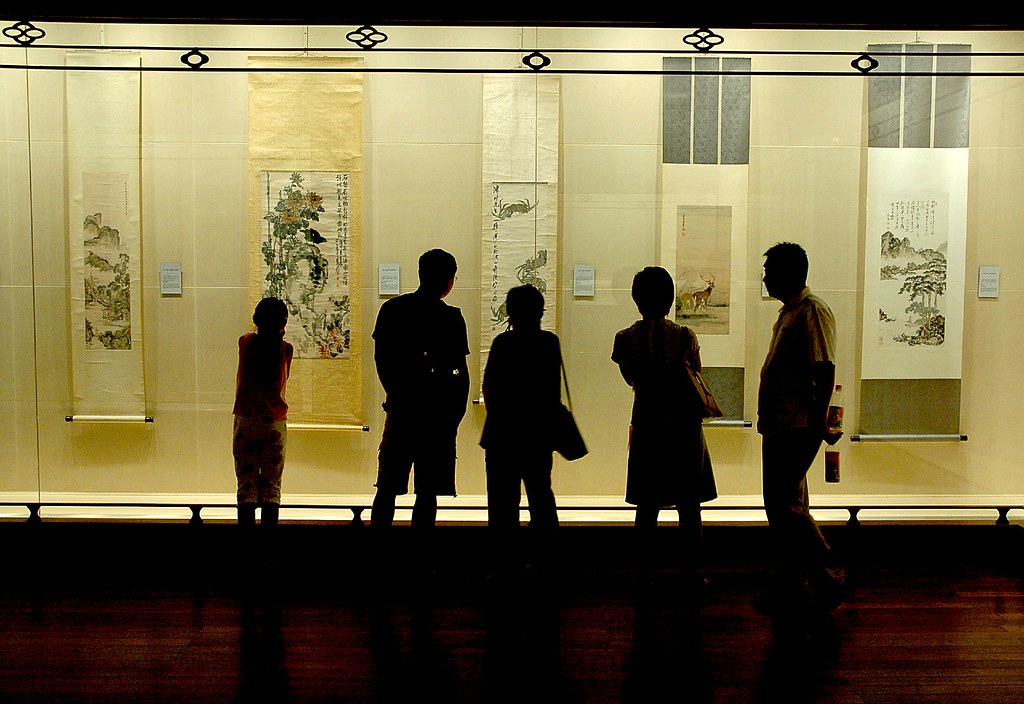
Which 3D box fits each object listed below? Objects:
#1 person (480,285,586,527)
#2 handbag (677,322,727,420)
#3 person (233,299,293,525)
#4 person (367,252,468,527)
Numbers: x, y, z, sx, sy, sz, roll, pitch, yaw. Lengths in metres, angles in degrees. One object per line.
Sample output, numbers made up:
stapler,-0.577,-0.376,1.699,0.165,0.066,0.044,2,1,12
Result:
person,0.139,0.403,7.726,0.716,1.756,0.290,-1,9,-2
handbag,1.324,0.146,7.655,0.241,0.655,0.325,-7,11,-33
person,-1.891,0.469,8.203,0.466,1.764,0.269,-3,9,-12
person,-0.679,0.293,7.804,0.731,2.053,0.302,-2,9,-6
